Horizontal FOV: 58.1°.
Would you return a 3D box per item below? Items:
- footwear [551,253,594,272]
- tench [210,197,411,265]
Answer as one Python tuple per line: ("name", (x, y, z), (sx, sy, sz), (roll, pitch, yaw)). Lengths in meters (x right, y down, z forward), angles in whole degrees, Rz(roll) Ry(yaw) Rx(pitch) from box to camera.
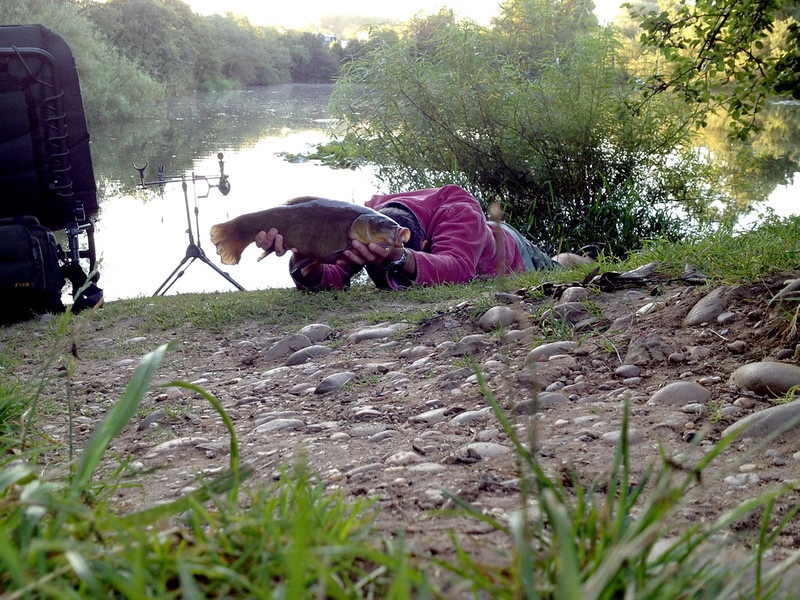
("footwear", (1.389, -0.319, 5.626), (0.244, 0.146, 0.303), (-4, -2, -17))
("tench", (-0.594, -0.435, 4.709), (1.261, 0.443, 0.235), (1, 0, 6))
